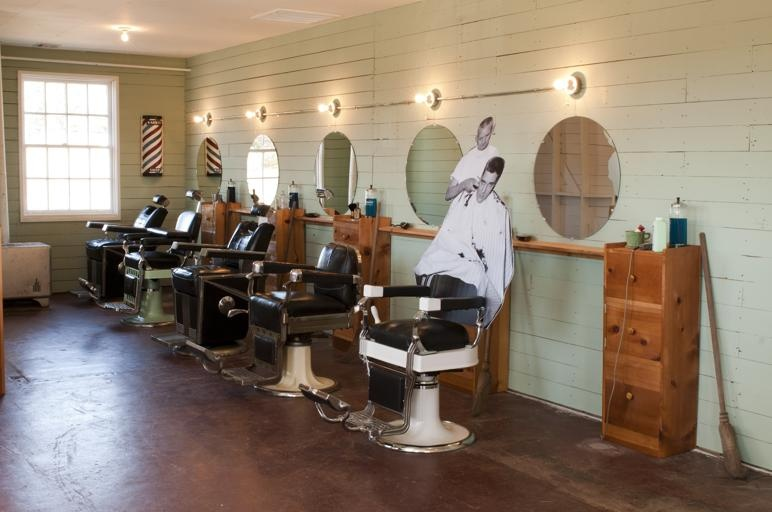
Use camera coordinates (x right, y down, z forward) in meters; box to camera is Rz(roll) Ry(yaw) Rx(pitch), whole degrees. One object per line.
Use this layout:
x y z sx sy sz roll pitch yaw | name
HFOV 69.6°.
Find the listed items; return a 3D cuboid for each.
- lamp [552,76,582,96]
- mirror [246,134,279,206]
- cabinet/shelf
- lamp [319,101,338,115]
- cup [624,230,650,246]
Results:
1.523 -1.412 4.613 0.184 0.172 0.055 1 9 41 | lamp
-1.728 -1.223 7.866 0.043 1.426 1.072 -5 10 -40 | mirror
1.942 0.671 4.101 0.754 1.492 0.473 7 14 29 | cabinet/shelf
-0.697 -1.777 6.748 0.214 0.200 0.085 2 2 45 | lamp
1.863 -0.127 4.165 0.171 0.111 0.116 3 3 38 | cup
